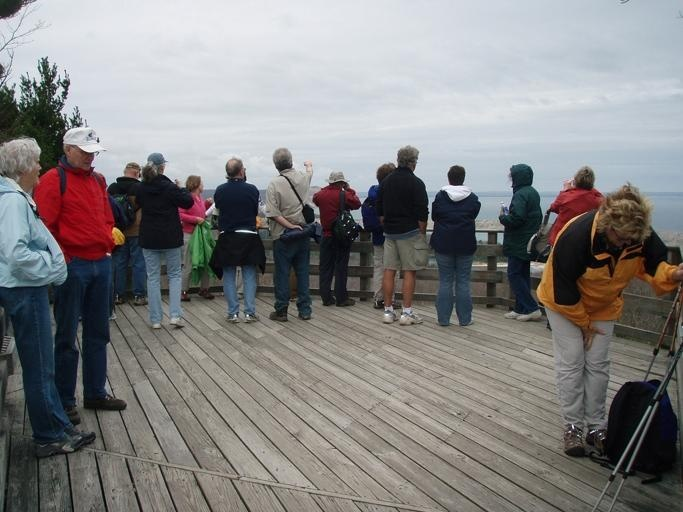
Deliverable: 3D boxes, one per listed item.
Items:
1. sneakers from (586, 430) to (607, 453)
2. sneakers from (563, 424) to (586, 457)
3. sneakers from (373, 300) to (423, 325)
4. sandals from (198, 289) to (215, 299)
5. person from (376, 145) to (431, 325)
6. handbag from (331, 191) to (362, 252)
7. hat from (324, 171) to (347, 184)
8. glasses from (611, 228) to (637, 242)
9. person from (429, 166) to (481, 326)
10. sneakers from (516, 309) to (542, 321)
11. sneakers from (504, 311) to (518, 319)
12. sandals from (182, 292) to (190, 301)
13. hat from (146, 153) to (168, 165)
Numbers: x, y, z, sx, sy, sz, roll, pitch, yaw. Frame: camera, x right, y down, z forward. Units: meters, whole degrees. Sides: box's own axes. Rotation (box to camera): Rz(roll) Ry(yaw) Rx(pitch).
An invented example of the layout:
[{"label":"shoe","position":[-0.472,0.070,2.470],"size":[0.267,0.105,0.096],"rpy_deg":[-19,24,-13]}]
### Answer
[{"label":"sneakers","position":[1.761,1.260,3.518],"size":[0.069,0.090,0.205],"rpy_deg":[-4,-18,3]},{"label":"sneakers","position":[1.554,1.240,3.450],"size":[0.089,0.119,0.264],"rpy_deg":[-4,-6,11]},{"label":"sneakers","position":[0.774,0.679,6.074],"size":[0.187,0.237,0.526],"rpy_deg":[5,2,44]},{"label":"sandals","position":[-1.904,0.546,7.218],"size":[0.255,0.121,0.096],"rpy_deg":[7,13,33]},{"label":"person","position":[0.710,-0.206,5.819],"size":[0.520,2.019,0.319],"rpy_deg":[1,11,6]},{"label":"handbag","position":[0.066,-0.412,6.392],"size":[0.302,0.782,0.284],"rpy_deg":[-10,15,-41]},{"label":"hat","position":[-0.059,-0.963,6.352],"size":[0.245,0.161,0.221],"rpy_deg":[1,12,0]},{"label":"glasses","position":[1.675,-0.114,3.056],"size":[0.080,0.050,0.111],"rpy_deg":[-1,20,-10]},{"label":"person","position":[1.254,0.019,5.767],"size":[0.531,1.571,0.273],"rpy_deg":[3,11,11]},{"label":"sneakers","position":[2.220,0.694,6.063],"size":[0.324,0.163,0.116],"rpy_deg":[-2,2,2]},{"label":"sneakers","position":[2.034,0.702,6.181],"size":[0.140,0.066,0.066],"rpy_deg":[2,1,-11]},{"label":"sandals","position":[-2.153,0.561,7.101],"size":[0.144,0.153,0.077],"rpy_deg":[0,6,-2]},{"label":"hat","position":[-2.081,-1.084,5.748],"size":[0.113,0.100,0.179],"rpy_deg":[3,22,9]}]
